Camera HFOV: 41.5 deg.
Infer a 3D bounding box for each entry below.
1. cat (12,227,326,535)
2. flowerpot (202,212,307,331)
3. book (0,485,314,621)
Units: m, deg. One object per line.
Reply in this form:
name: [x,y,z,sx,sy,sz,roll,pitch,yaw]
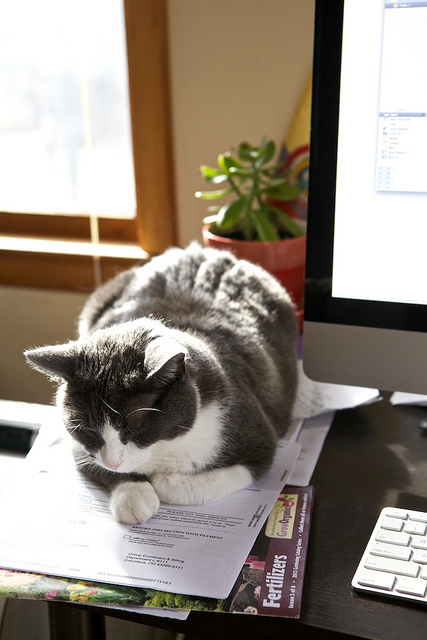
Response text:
cat: [-0.048,0.043,0.752,0.282,0.220,0.451,-4,27,15]
flowerpot: [0.065,-0.084,0.989,0.183,0.201,0.225,1,19,7]
book: [-0.044,0.189,0.503,0.254,0.020,0.177,3,19,11]
